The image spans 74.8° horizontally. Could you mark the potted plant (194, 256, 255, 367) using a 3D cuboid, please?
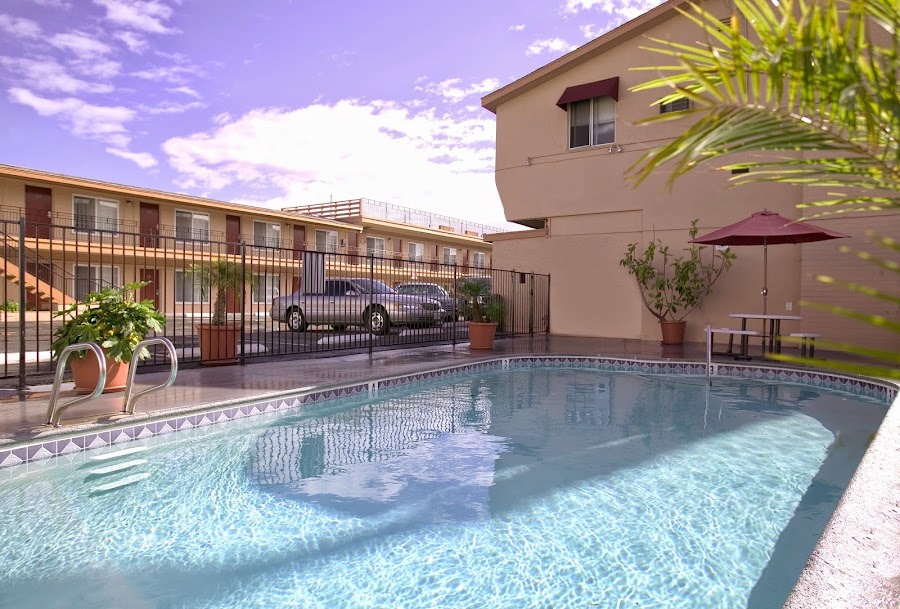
[{"bbox_3d":[-3.981,0.143,10.264,1.119,1.831,1.024,2,-13,-14],"label":"potted plant"}]

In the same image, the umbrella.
[{"bbox_3d":[5.984,-0.464,11.185,1.885,2.624,3.027,5,8,33],"label":"umbrella"}]

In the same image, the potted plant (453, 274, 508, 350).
[{"bbox_3d":[0.634,0.216,12.421,0.922,1.505,1.226,1,7,5],"label":"potted plant"}]

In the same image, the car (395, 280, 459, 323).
[{"bbox_3d":[-0.443,-0.077,15.004,0.745,0.680,1.873,3,3,-43],"label":"car"}]

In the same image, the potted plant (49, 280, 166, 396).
[{"bbox_3d":[-4.174,0.514,7.047,1.063,1.109,1.015,-8,-2,38],"label":"potted plant"}]
